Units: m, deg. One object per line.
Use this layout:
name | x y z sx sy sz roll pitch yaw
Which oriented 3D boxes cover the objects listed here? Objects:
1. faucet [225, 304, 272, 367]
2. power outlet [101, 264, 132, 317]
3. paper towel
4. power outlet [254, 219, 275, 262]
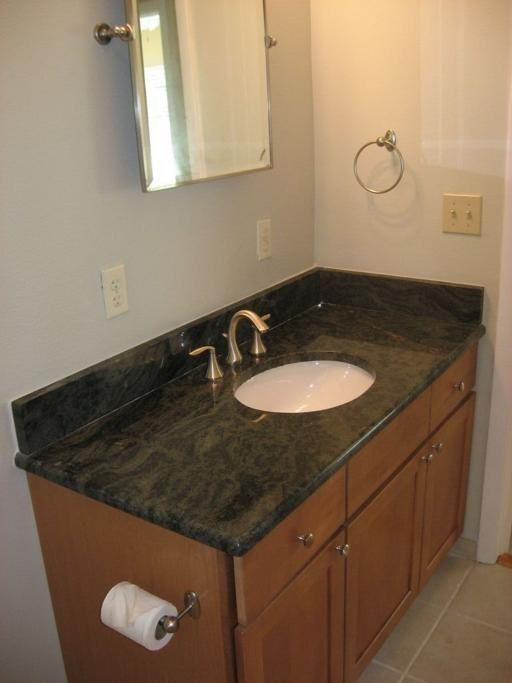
faucet | -0.025 -0.009 1.493 0.083 0.124 0.104 -33 46 -31
power outlet | -0.297 -0.109 1.198 0.010 0.110 0.078 12 26 24
paper towel | -0.181 0.418 0.879 0.130 0.070 0.066 10 22 37
power outlet | 0.022 -0.298 1.662 0.012 0.127 0.089 11 26 25
